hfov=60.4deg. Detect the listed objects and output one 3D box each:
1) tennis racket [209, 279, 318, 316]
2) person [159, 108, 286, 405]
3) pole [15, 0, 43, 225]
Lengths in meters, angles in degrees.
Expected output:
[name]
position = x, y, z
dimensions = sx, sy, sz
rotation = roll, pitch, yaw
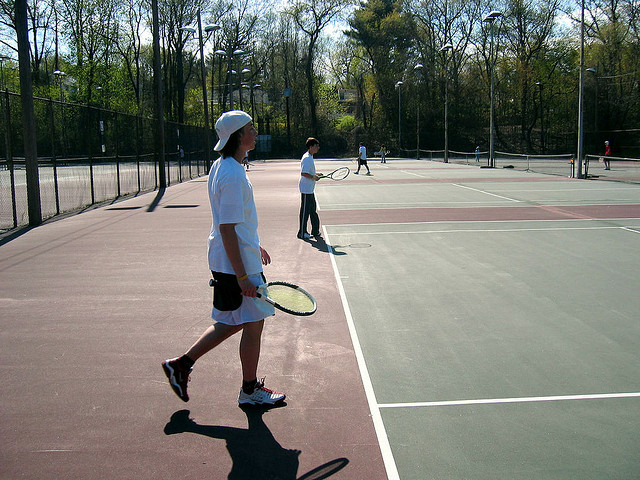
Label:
[tennis racket]
position = -0.550, 0.543, 4.997
dimensions = 0.582, 0.165, 1.480
rotation = 25, 10, 41
[person]
position = -0.851, 0.189, 4.897
dimensions = 0.943, 2.607, 0.783
rotation = -3, 10, -16
[pole]
position = -7.774, -3.270, 14.578
dimensions = 0.416, 5.860, 0.746
rotation = -6, 11, -28
